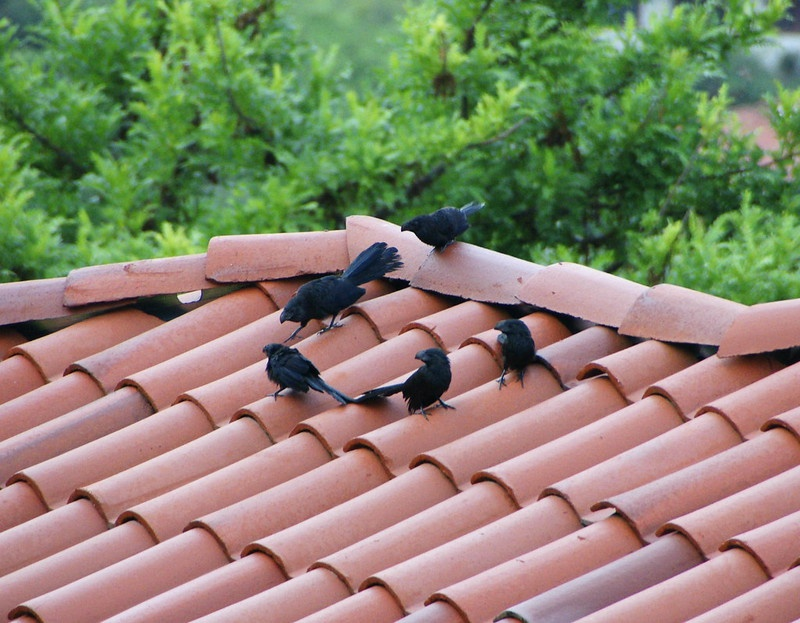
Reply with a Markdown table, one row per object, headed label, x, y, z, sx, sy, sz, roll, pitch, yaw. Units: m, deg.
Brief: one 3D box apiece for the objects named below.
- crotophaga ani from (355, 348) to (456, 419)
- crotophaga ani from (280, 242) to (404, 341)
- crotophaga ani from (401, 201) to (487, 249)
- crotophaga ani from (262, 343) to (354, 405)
| label | x | y | z | sx | sy | sz | roll | pitch | yaw |
| --- | --- | --- | --- | --- | --- | --- | --- | --- | --- |
| crotophaga ani | -0.005 | 0.398 | 10.297 | 0.581 | 0.405 | 0.253 | -2 | 7 | 33 |
| crotophaga ani | -0.359 | -0.118 | 10.872 | 0.871 | 0.338 | 0.269 | -27 | 25 | -17 |
| crotophaga ani | 0.260 | -0.576 | 11.977 | 0.439 | 0.199 | 0.143 | -37 | 53 | -8 |
| crotophaga ani | -0.564 | 0.349 | 10.360 | 0.629 | 0.200 | 0.340 | -1 | 85 | 31 |
